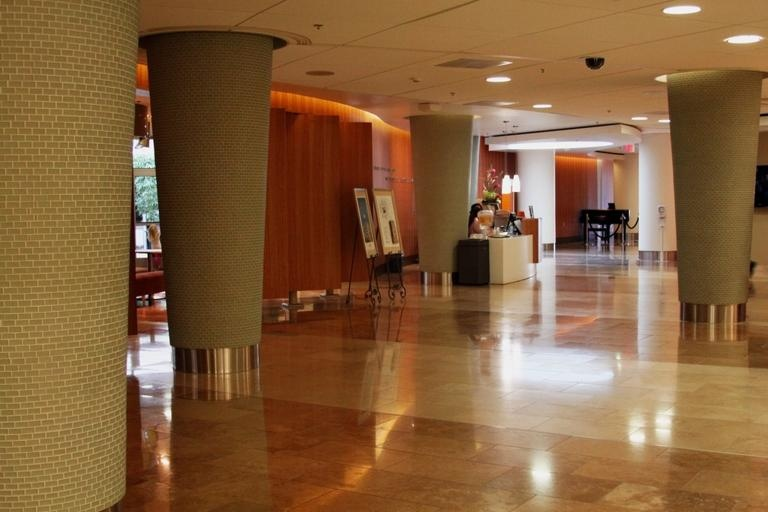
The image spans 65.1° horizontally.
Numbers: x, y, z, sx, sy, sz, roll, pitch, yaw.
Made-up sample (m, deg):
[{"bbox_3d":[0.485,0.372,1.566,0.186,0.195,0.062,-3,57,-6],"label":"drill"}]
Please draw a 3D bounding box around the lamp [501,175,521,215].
[{"bbox_3d":[5.356,-2.644,25.498,0.803,1.538,1.058,0,2,10],"label":"lamp"}]

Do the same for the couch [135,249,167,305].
[{"bbox_3d":[-5.359,0.452,13.698,0.590,1.084,4.180,-2,2,-21],"label":"couch"}]

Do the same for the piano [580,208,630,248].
[{"bbox_3d":[10.362,-1.490,29.014,2.564,1.641,2.551,2,3,39],"label":"piano"}]

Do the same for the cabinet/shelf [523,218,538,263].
[{"bbox_3d":[4.490,-0.445,18.535,0.568,1.395,1.582,0,-1,11],"label":"cabinet/shelf"}]

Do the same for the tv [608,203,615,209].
[{"bbox_3d":[11.338,-2.473,29.999,0.251,0.314,1.535,0,2,22],"label":"tv"}]

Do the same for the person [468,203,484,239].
[{"bbox_3d":[2.445,-0.960,16.253,0.371,0.913,1.195,0,2,8],"label":"person"}]
